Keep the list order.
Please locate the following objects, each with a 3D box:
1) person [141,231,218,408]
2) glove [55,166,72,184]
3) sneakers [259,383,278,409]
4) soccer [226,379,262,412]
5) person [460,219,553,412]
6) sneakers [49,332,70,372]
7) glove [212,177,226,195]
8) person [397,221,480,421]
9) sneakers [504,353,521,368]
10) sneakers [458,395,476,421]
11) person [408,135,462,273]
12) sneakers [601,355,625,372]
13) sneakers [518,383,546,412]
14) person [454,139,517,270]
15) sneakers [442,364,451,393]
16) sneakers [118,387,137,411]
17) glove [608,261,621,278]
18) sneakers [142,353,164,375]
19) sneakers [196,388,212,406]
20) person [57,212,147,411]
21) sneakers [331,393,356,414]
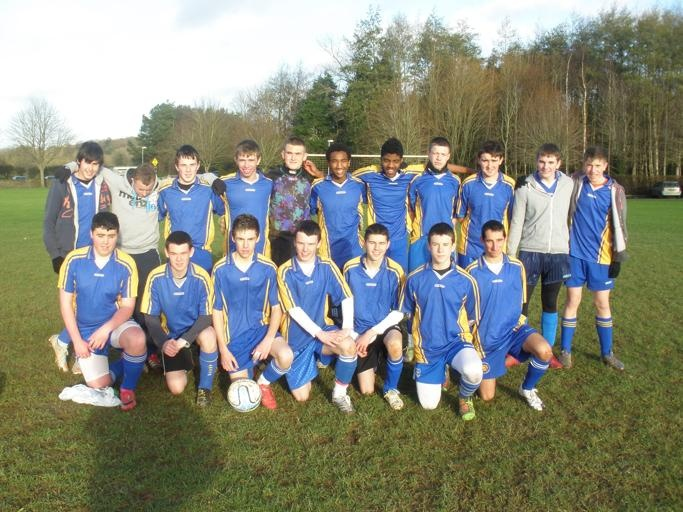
[{"bbox_3d":[-1.792,0.620,6.629,0.920,1.832,0.533,4,10,25],"label":"person"},{"bbox_3d":[-3.435,-0.987,7.198,0.141,0.095,0.212,22,20,-3],"label":"glove"},{"bbox_3d":[-0.801,1.563,6.479,0.108,0.152,0.339,-3,23,-27],"label":"sneakers"},{"bbox_3d":[-1.044,1.506,6.289,0.277,0.262,0.363,-2,57,-7],"label":"soccer"},{"bbox_3d":[1.792,0.681,6.472,1.048,2.049,1.105,-9,7,-43],"label":"person"},{"bbox_3d":[-3.362,1.160,6.966,0.173,0.482,0.150,-2,19,10],"label":"sneakers"},{"bbox_3d":[-1.516,-0.849,7.241,0.174,0.173,0.059,-50,20,-28],"label":"glove"},{"bbox_3d":[1.113,0.668,6.368,0.882,1.990,0.634,2,9,15],"label":"person"},{"bbox_3d":[2.066,1.278,7.102,0.115,0.167,0.360,-2,-7,37],"label":"sneakers"},{"bbox_3d":[1.362,1.600,6.280,0.172,0.215,0.346,2,11,12],"label":"sneakers"},{"bbox_3d":[1.261,-0.463,7.960,0.536,2.315,0.526,1,34,7],"label":"person"},{"bbox_3d":[3.323,1.293,7.122,0.117,0.106,0.221,-32,41,-24],"label":"sneakers"},{"bbox_3d":[2.099,1.563,6.392,0.123,0.132,0.301,-21,44,-19],"label":"sneakers"},{"bbox_3d":[1.907,-0.295,7.703,0.630,2.437,0.543,-1,26,5],"label":"person"},{"bbox_3d":[1.197,1.395,6.613,0.100,0.388,0.147,5,5,19],"label":"sneakers"},{"bbox_3d":[-2.340,1.533,6.394,0.175,0.203,0.271,-5,12,-25],"label":"sneakers"},{"bbox_3d":[3.410,0.178,7.269,0.131,0.224,0.069,8,-3,28],"label":"glove"},{"bbox_3d":[-2.288,1.326,7.130,0.146,0.092,0.299,7,26,-4],"label":"sneakers"},{"bbox_3d":[-1.513,1.547,6.396,0.161,0.148,0.162,-4,11,-16],"label":"sneakers"},{"bbox_3d":[-2.662,0.585,6.415,0.925,2.049,0.794,-4,10,-20],"label":"person"},{"bbox_3d":[0.027,1.610,6.378,0.164,0.109,0.306,-5,12,-22],"label":"sneakers"}]
